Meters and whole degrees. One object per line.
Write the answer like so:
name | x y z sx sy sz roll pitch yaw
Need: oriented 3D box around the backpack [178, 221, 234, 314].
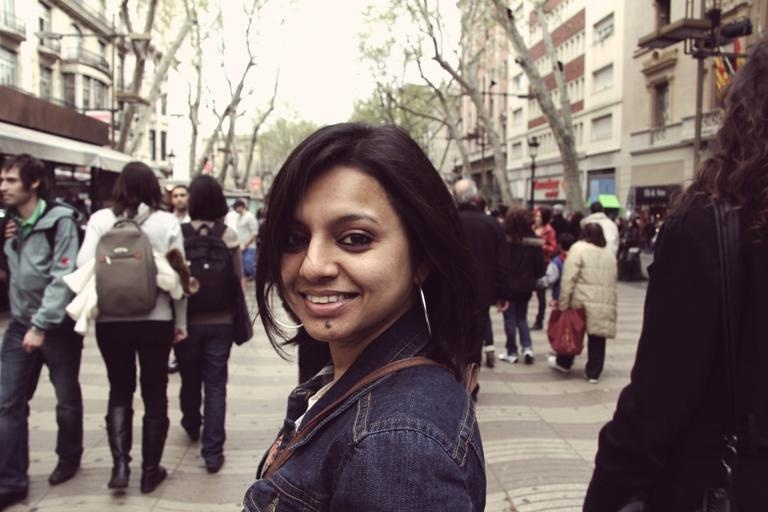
backpack | -1.511 0.111 5.850 0.514 0.778 0.425 -2 7 -1

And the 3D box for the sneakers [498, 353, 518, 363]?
sneakers | 1.527 1.264 8.460 0.091 0.103 0.247 4 5 -45

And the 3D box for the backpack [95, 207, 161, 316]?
backpack | -1.965 -0.001 5.240 0.431 0.805 0.739 -2 5 -12

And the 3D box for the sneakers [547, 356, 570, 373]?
sneakers | 2.060 1.289 8.121 0.102 0.132 0.300 -8 8 -23

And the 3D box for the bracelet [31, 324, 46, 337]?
bracelet | -2.485 0.536 4.899 0.067 0.051 0.069 4 -41 55

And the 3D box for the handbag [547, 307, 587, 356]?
handbag | 2.066 0.825 7.748 0.465 0.640 0.309 -3 15 23

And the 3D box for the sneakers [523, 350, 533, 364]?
sneakers | 1.793 1.242 8.442 0.140 0.140 0.280 1 -1 12
